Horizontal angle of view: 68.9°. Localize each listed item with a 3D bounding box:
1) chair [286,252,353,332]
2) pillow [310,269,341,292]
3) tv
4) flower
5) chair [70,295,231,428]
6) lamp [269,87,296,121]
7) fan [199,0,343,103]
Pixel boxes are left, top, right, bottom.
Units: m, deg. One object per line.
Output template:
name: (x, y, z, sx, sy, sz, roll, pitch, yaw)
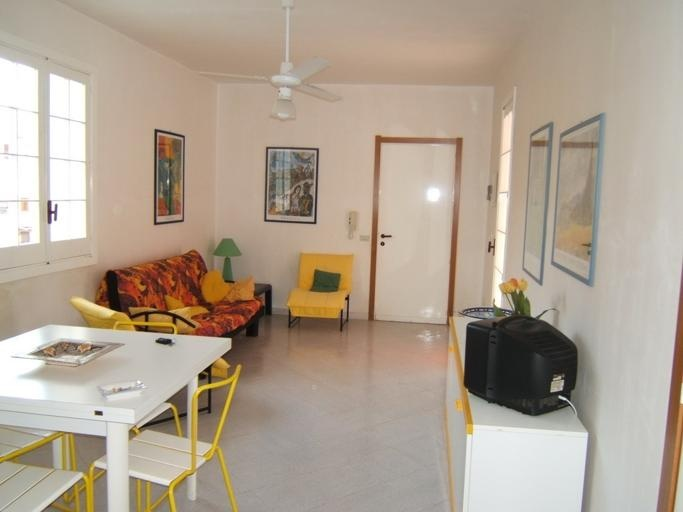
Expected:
chair: (-0.247, 0.438, 6.403, 0.762, 0.991, 0.972, 1, 4, 8)
pillow: (-0.199, 0.325, 6.497, 0.375, 0.248, 0.281, 6, 10, 4)
tv: (0.976, 0.516, 2.755, 0.490, 0.457, 0.484, -6, 12, -38)
flower: (1.445, 0.355, 4.294, 0.473, 0.357, 0.666, 2, 7, 11)
chair: (-1.473, 0.738, 3.917, 1.229, 0.863, 0.823, 1, 5, -8)
lamp: (-0.418, -1.153, 3.727, 0.217, 0.260, 0.232, 3, 5, 3)
fan: (-0.684, -2.003, 4.826, 0.912, 0.824, 0.976, 6, 14, 12)
